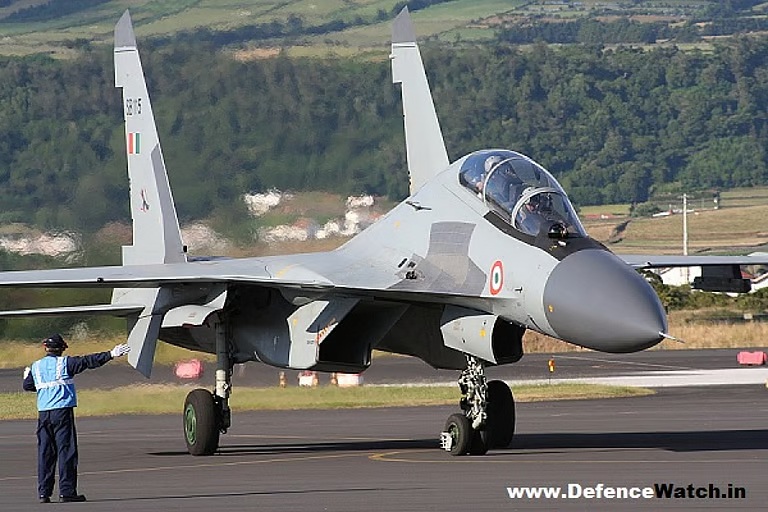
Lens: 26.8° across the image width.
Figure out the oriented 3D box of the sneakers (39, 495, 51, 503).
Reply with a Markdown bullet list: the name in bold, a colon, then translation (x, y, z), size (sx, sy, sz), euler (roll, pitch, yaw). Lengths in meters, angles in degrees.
- **sneakers**: translation (-9.891, 7.036, 46.809), size (0.322, 0.207, 0.200), euler (-3, 11, -11)

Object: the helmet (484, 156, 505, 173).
- **helmet**: translation (3.301, -2.824, 48.845), size (0.602, 0.208, 0.432), euler (-28, -10, 31)

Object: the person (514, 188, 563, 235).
- **person**: translation (4.567, -1.340, 48.262), size (1.392, 1.341, 0.671), euler (0, 11, 5)

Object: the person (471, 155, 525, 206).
- **person**: translation (3.636, -2.277, 48.664), size (1.174, 1.492, 0.746), euler (0, 12, 7)

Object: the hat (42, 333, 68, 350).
- **hat**: translation (-9.775, 2.498, 47.299), size (0.465, 0.278, 0.587), euler (7, -2, -35)

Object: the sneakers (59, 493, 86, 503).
- **sneakers**: translation (-9.058, 7.011, 46.801), size (0.721, 0.257, 0.259), euler (-1, 1, -17)
